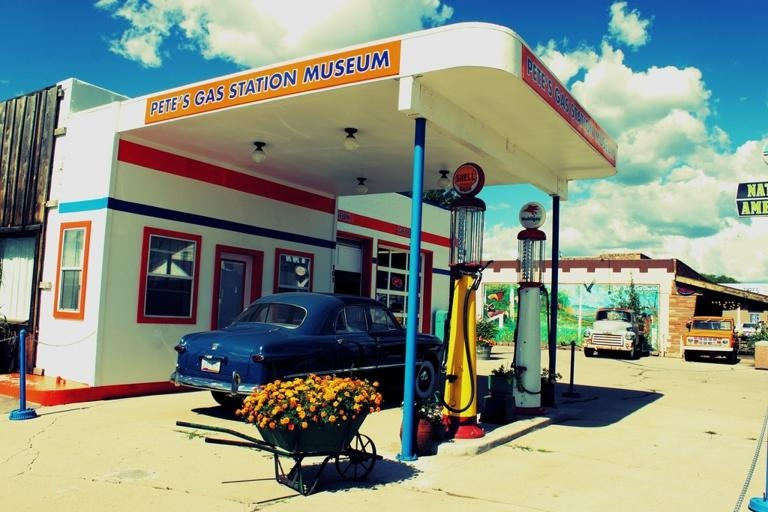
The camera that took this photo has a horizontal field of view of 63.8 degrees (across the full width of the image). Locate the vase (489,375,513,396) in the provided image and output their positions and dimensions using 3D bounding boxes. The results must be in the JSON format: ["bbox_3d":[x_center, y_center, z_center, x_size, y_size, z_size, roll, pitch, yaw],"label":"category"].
[{"bbox_3d":[2.031,2.235,10.742,0.377,0.344,0.501,2,0,10],"label":"vase"}]

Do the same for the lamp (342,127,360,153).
[{"bbox_3d":[-0.650,-2.257,11.818,0.273,0.395,0.643,2,0,-4],"label":"lamp"}]

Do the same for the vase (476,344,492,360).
[{"bbox_3d":[3.519,3.328,21.512,0.523,0.407,0.535,-5,-11,44],"label":"vase"}]

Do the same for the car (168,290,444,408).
[{"bbox_3d":[-1.163,1.537,11.581,2.151,1.765,4.888,0,-1,43],"label":"car"}]

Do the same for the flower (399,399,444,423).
[{"bbox_3d":[0.613,2.240,9.198,0.365,0.174,0.376,4,-3,43],"label":"flower"}]

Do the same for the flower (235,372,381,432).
[{"bbox_3d":[-0.973,1.834,7.687,1.066,0.359,0.909,1,-7,-22],"label":"flower"}]

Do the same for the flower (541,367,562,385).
[{"bbox_3d":[3.319,2.381,12.344,0.329,0.302,0.624,2,0,14],"label":"flower"}]

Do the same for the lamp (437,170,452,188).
[{"bbox_3d":[1.399,-1.829,14.567,0.310,0.403,0.315,0,-1,18],"label":"lamp"}]

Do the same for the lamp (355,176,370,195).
[{"bbox_3d":[-0.564,-1.754,15.251,0.281,0.344,0.276,0,4,-39],"label":"lamp"}]

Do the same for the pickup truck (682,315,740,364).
[{"bbox_3d":[13.490,3.318,25.154,2.001,1.732,3.527,-3,-6,42],"label":"pickup truck"}]

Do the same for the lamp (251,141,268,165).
[{"bbox_3d":[-2.579,-2.144,12.633,0.265,0.405,0.694,2,0,-13],"label":"lamp"}]
